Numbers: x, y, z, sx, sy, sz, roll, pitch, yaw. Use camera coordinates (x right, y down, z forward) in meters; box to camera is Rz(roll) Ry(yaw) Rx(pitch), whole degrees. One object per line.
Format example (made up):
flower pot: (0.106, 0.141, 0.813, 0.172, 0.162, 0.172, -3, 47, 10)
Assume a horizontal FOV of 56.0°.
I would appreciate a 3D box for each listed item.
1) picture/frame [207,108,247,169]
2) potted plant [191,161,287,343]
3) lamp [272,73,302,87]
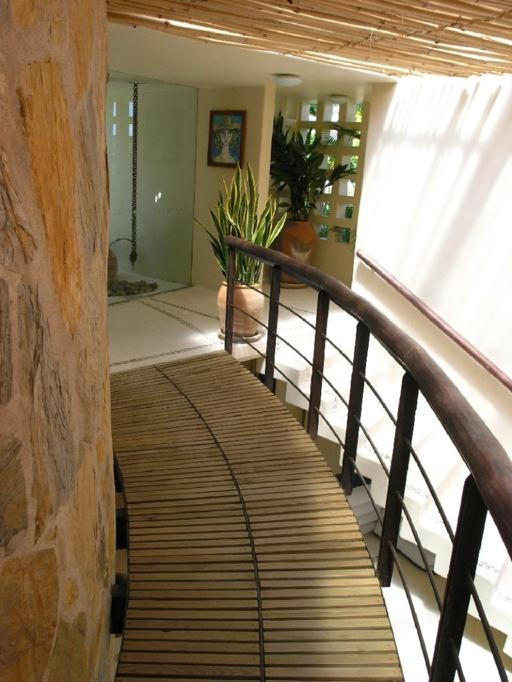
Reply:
picture/frame: (-0.360, -2.340, 5.575, 0.561, 0.649, 0.090, 21, 27, 33)
potted plant: (-0.166, -0.661, 4.264, 0.663, 1.404, 0.537, 4, -14, -10)
lamp: (0.291, -2.471, 4.540, 0.262, 0.090, 0.304, 6, 26, -2)
